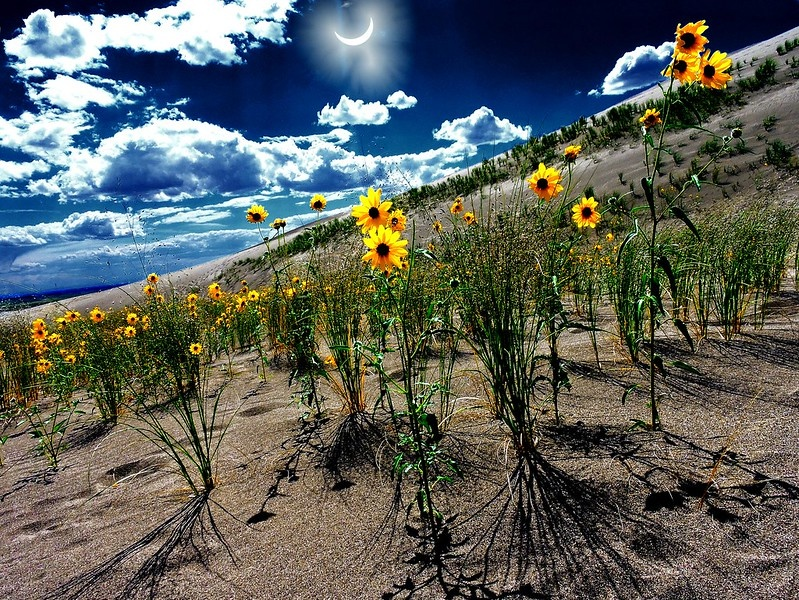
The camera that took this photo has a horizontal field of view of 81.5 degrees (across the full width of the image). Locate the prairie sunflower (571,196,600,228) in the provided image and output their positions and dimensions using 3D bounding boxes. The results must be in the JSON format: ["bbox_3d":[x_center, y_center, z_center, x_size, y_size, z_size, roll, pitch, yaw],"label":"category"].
[{"bbox_3d":[1.472,-0.690,3.672,0.196,0.248,0.338,-7,5,23],"label":"prairie sunflower"}]

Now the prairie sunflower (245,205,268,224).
[{"bbox_3d":[-1.340,-0.822,4.453,0.151,0.157,0.400,-11,5,-17],"label":"prairie sunflower"}]

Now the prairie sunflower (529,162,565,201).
[{"bbox_3d":[0.960,-0.768,3.045,0.210,0.269,0.390,-8,5,12],"label":"prairie sunflower"}]

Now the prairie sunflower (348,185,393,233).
[{"bbox_3d":[-0.159,-0.539,2.837,0.223,0.169,0.249,-9,5,5],"label":"prairie sunflower"}]

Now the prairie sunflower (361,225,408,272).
[{"bbox_3d":[-0.085,-0.306,2.801,0.255,0.177,0.274,-10,5,-2],"label":"prairie sunflower"}]
